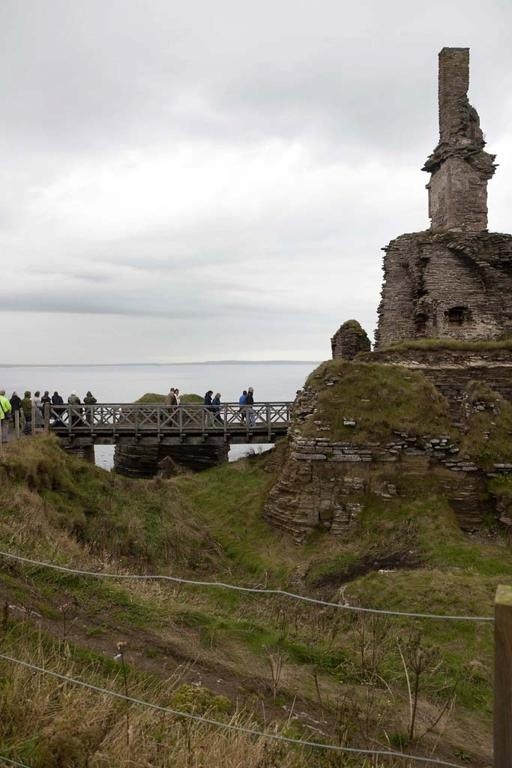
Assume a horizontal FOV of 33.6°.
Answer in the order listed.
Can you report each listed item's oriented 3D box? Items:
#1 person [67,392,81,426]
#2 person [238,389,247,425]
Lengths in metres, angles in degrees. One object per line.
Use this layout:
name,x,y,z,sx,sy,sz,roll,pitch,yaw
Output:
person,-5.040,0.746,23.676,0.487,0.844,1.378,12,1,-11
person,-0.381,0.673,24.724,0.274,0.962,1.238,13,1,-1
